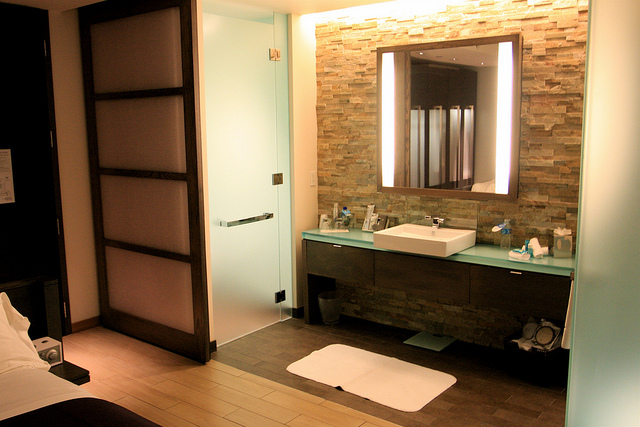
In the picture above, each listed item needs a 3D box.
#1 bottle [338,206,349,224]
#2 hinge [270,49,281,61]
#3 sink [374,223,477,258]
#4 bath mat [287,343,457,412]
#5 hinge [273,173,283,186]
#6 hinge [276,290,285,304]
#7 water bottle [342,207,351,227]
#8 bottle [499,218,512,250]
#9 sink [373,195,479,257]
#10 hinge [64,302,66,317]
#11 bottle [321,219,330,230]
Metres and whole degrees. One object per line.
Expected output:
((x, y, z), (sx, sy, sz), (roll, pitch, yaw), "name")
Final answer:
((0.230, 0.020, 4.692), (0.055, 0.157, 0.095), (-12, 17, -42), "bottle")
((-0.424, -1.494, 4.406), (0.017, 0.083, 0.126), (13, 20, 33), "hinge")
((0.885, 0.220, 4.005), (0.710, 0.172, 0.581), (8, 14, 35), "sink")
((0.400, 1.249, 3.745), (1.215, 0.066, 0.804), (1, 4, 43), "bath mat")
((-0.411, -0.336, 4.540), (0.004, 0.083, 0.127), (12, 18, 32), "hinge")
((-0.398, 0.826, 4.699), (0.022, 0.105, 0.159), (3, 6, 33), "hinge")
((0.259, 0.037, 4.693), (0.067, 0.191, 0.104), (3, 13, 19), "water bottle")
((1.507, 0.162, 3.831), (0.089, 0.235, 0.156), (4, 13, 21), "bottle")
((0.893, 0.092, 3.985), (0.703, 0.389, 0.604), (8, 15, 36), "sink")
((-2.334, 0.884, 4.334), (0.014, 0.128, 0.014), (11, 16, 35), "hinge")
((0.053, 0.113, 4.700), (0.085, 0.123, 0.083), (-1, 8, 0), "bottle")
